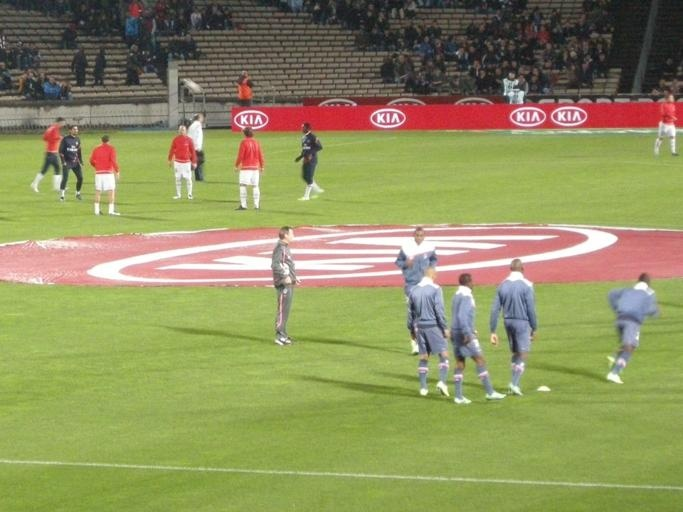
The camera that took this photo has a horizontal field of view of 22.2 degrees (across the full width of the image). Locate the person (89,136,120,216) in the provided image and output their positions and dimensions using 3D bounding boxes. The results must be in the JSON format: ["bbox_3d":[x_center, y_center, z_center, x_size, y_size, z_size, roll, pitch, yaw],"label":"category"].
[{"bbox_3d":[-7.590,-2.591,56.140,1.230,3.242,0.978,1,18,-11],"label":"person"}]

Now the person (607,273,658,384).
[{"bbox_3d":[7.106,1.788,42.365,1.133,2.585,0.837,1,9,-2],"label":"person"}]

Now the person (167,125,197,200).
[{"bbox_3d":[-5.552,-3.214,58.877,1.044,2.716,1.190,0,5,0],"label":"person"}]

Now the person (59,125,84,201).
[{"bbox_3d":[-9.099,-3.135,58.781,0.941,2.720,0.769,-2,20,-18],"label":"person"}]

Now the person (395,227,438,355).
[{"bbox_3d":[1.967,0.652,44.249,1.184,2.844,1.335,13,15,11],"label":"person"}]

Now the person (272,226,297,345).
[{"bbox_3d":[-1.450,0.793,44.003,0.623,2.990,0.387,2,10,6],"label":"person"}]

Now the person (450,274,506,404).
[{"bbox_3d":[4.204,1.717,42.136,1.250,3.158,1.029,-2,6,-10],"label":"person"}]
